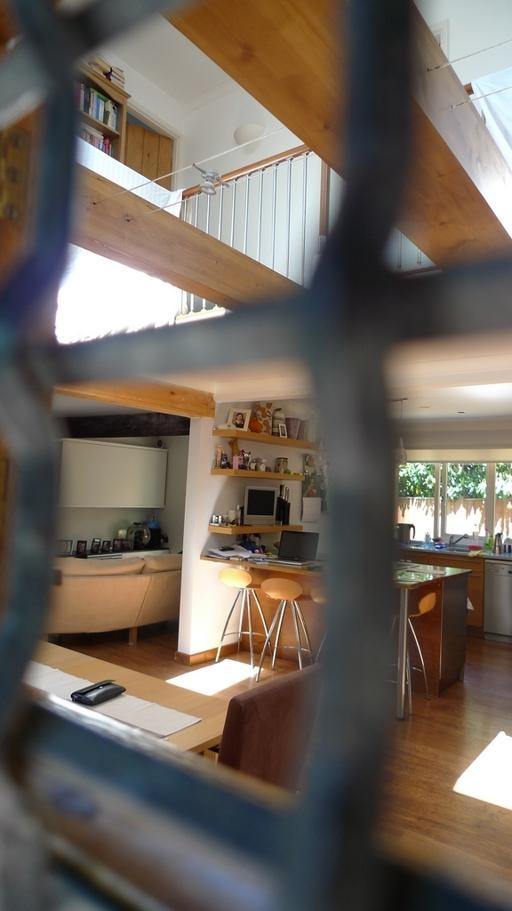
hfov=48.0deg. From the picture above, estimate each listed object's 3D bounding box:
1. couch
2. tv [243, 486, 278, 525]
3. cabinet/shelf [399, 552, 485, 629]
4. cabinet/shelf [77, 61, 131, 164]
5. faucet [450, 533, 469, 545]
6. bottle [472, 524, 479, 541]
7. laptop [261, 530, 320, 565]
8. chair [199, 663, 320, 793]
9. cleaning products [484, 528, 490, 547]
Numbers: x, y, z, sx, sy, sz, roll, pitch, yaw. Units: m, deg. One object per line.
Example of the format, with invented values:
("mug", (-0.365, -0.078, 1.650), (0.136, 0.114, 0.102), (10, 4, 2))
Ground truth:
("couch", (-1.179, 1.239, 5.141), (0.383, 0.672, 1.174), (-3, -8, 45))
("tv", (0.029, 0.460, 5.370), (0.165, 0.362, 0.313), (-5, -6, 45))
("cabinet/shelf", (2.283, 1.562, 6.400), (0.479, 0.809, 0.780), (-6, 3, 25))
("cabinet/shelf", (-1.432, -2.973, 5.104), (0.201, 0.641, 0.590), (12, 11, 25))
("faucet", (2.432, 1.005, 6.907), (0.197, 0.116, 0.237), (0, -6, 18))
("bottle", (2.618, 0.912, 6.839), (0.070, 0.151, 0.191), (0, -6, 24))
("laptop", (0.339, 0.743, 4.662), (0.233, 0.245, 0.642), (3, -6, -12))
("chair", (0.003, 0.824, 1.716), (0.216, 0.410, 0.340), (2, -5, -4))
("cleaning products", (2.694, 0.938, 6.694), (0.064, 0.189, 0.370), (0, -6, 21))
